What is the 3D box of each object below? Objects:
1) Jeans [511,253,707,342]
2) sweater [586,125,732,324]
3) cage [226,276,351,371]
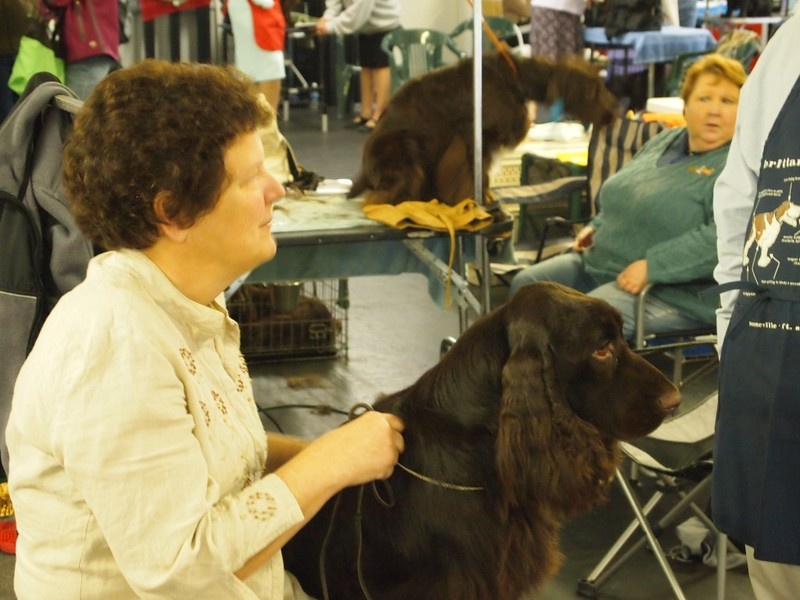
[{"bbox_3d":[1.088,-0.051,4.656,0.882,0.302,0.959,3,12,5],"label":"Jeans"},{"bbox_3d":[1.150,-0.318,4.111,0.439,0.654,0.800,15,13,-21],"label":"sweater"},{"bbox_3d":[-0.645,0.168,5.688,0.758,0.479,0.592,-2,-3,-8],"label":"cage"}]
